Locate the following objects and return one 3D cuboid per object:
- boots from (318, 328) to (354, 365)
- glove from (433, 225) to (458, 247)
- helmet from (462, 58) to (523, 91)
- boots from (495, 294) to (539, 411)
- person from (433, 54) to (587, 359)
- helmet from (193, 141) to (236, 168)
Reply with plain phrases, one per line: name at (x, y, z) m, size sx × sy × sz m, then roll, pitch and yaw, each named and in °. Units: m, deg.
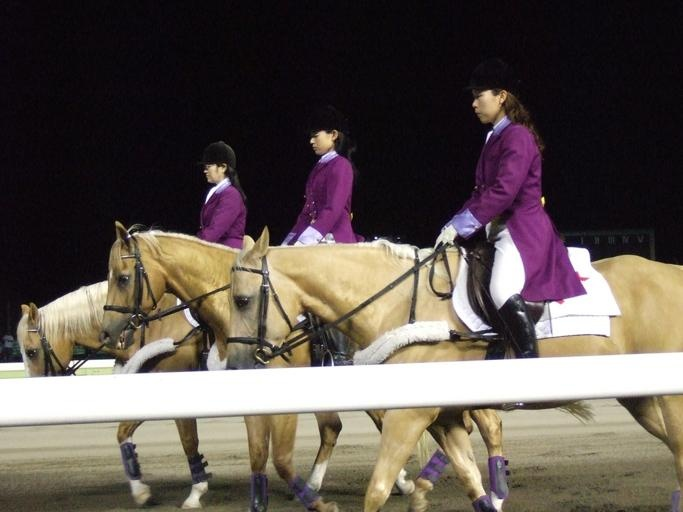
boots at (-0.027, 0.864, 9.552) m, size 0.307 × 0.400 × 0.398 m, roll 2°, pitch -13°, yaw -4°
glove at (0.941, -0.181, 8.903) m, size 0.194 × 0.207 × 0.106 m, roll 1°, pitch 7°, yaw 6°
helmet at (1.375, -1.605, 9.111) m, size 0.358 × 0.250 × 0.273 m, roll 5°, pitch 3°, yaw -8°
boots at (1.558, 0.604, 8.757) m, size 0.358 × 0.540 × 0.184 m, roll -1°, pitch 6°, yaw -5°
person at (1.535, -0.446, 8.919) m, size 1.127 × 2.562 × 0.695 m, roll 2°, pitch 7°, yaw 14°
helmet at (-1.279, -1.062, 10.534) m, size 0.332 × 0.240 × 0.254 m, roll 5°, pitch 8°, yaw -14°
